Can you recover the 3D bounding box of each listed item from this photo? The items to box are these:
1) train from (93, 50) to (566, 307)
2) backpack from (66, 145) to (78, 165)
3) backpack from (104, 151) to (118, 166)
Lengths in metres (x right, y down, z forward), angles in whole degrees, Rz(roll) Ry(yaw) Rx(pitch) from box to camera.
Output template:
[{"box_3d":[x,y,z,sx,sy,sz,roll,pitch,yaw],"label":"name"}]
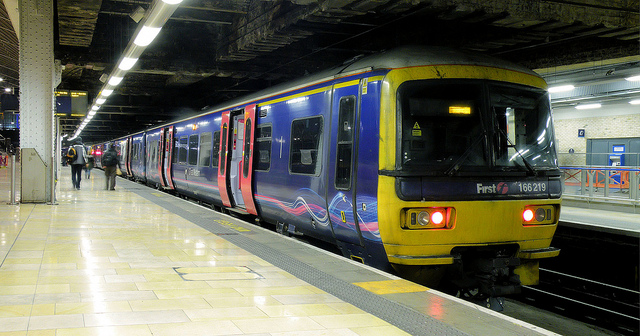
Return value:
[{"box_3d":[-2.687,-0.334,18.421,4.845,4.619,23.104,-1,4,-29],"label":"train"},{"box_3d":[-11.222,-0.554,19.124,0.732,0.848,0.235,2,22,-30],"label":"backpack"},{"box_3d":[-9.724,-0.450,19.660,0.552,0.626,0.452,-4,15,-24],"label":"backpack"}]
